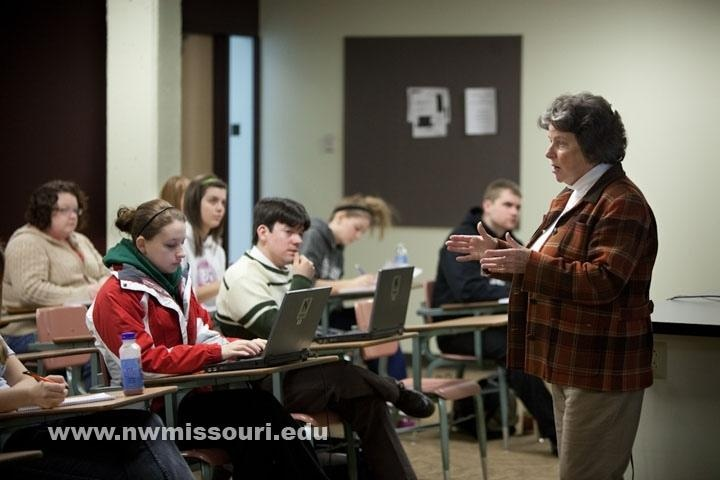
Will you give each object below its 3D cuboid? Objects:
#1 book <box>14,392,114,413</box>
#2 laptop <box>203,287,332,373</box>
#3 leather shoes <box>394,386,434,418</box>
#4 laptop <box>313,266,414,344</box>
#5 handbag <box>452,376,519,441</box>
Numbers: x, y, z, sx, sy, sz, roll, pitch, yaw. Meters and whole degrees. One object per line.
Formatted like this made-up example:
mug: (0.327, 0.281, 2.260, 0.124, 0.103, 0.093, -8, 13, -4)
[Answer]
book: (-1.067, 0.591, 2.284, 0.337, 0.038, 0.181, -2, 8, -7)
laptop: (-0.414, 0.401, 2.790, 0.593, 0.296, 0.543, 0, -10, -41)
leather shoes: (0.267, 0.803, 3.159, 0.188, 0.168, 0.150, 8, 5, 0)
laptop: (0.041, 0.290, 3.293, 0.388, 0.276, 0.433, -9, -4, 21)
handbag: (0.866, 1.139, 4.312, 0.500, 0.479, 0.399, -1, 1, 15)
